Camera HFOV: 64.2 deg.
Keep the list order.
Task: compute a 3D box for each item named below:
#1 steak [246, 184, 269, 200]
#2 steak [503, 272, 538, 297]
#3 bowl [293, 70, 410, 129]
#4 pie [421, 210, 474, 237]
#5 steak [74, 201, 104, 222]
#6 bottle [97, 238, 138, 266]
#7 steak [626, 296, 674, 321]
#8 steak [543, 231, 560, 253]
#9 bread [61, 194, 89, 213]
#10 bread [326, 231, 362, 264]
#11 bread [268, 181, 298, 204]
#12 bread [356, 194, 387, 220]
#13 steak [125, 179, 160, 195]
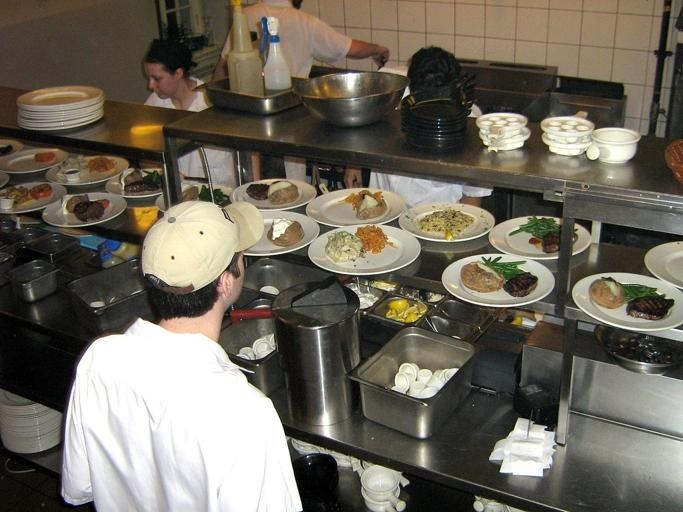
[{"bbox_3d":[-0.376,-0.297,2.479,0.102,0.024,0.086,-7,28,-22],"label":"steak"},{"bbox_3d":[0.556,0.086,1.686,0.100,0.022,0.068,-27,33,-24],"label":"steak"},{"bbox_3d":[0.038,-0.544,1.850,0.342,0.087,0.272,-18,34,-26],"label":"bowl"},{"bbox_3d":[0.413,-0.131,2.105,0.151,0.013,0.142,-23,31,-37],"label":"pie"},{"bbox_3d":[-1.120,-0.200,2.419,0.130,0.037,0.092,-2,55,5],"label":"steak"},{"bbox_3d":[-1.020,-0.012,2.486,0.103,0.092,0.074,36,64,12],"label":"bottle"},{"bbox_3d":[0.859,0.141,1.515,0.105,0.051,0.093,12,26,28],"label":"steak"},{"bbox_3d":[0.716,-0.046,1.854,0.063,0.024,0.062,3,62,4],"label":"steak"},{"bbox_3d":[-1.225,-0.246,2.536,0.117,0.080,0.060,-30,1,-5],"label":"bread"},{"bbox_3d":[-0.012,-0.032,2.001,0.094,0.037,0.100,-32,1,13],"label":"bread"},{"bbox_3d":[-0.264,-0.270,2.442,0.125,0.040,0.123,-35,56,-27],"label":"bread"},{"bbox_3d":[0.122,-0.197,2.221,0.128,0.042,0.109,2,57,2],"label":"bread"},{"bbox_3d":[-0.945,-0.329,2.594,0.108,0.017,0.096,14,31,18],"label":"steak"}]
